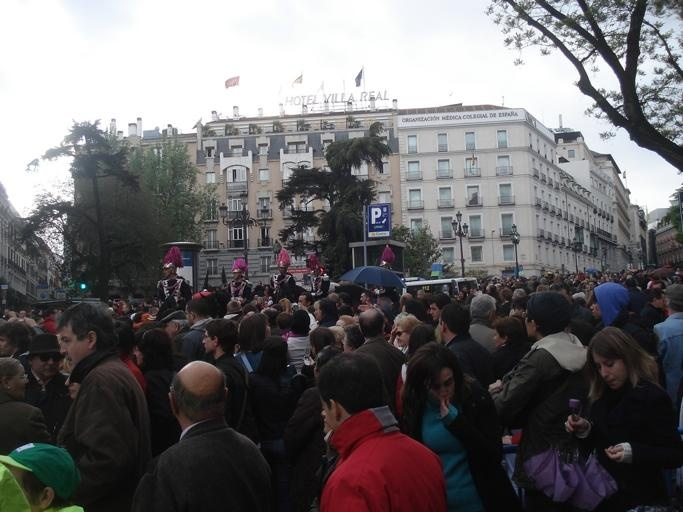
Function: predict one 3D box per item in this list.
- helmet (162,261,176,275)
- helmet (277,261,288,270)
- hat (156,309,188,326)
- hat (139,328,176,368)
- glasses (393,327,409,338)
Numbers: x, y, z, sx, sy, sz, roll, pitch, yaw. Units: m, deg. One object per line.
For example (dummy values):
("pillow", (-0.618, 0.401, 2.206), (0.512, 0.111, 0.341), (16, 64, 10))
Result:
("helmet", (-3.952, 0.261, 15.965), (0.273, 0.312, 0.347), (2, -2, -26))
("helmet", (-1.548, 0.224, 18.114), (0.230, 0.128, 0.337), (-1, -5, 3))
("hat", (-2.327, 0.838, 9.705), (0.272, 0.110, 0.242), (-19, 3, -36))
("hat", (-1.748, 0.842, 6.652), (0.381, 0.456, 0.322), (-2, 3, -30))
("glasses", (0.685, 0.853, 8.009), (0.164, 0.056, 0.164), (15, -10, -3))
